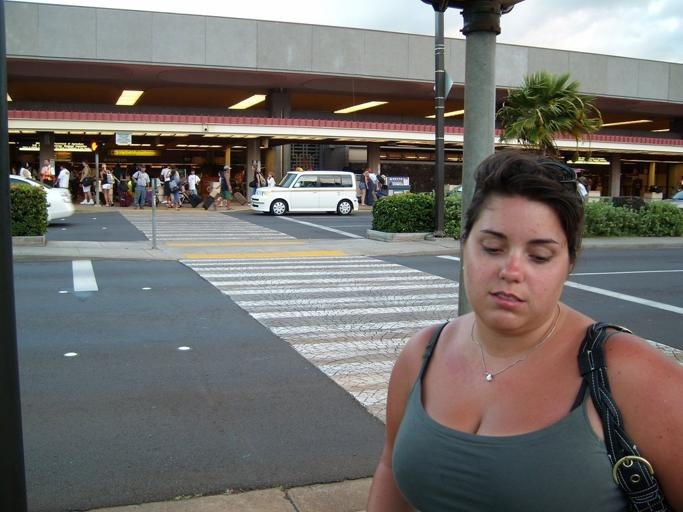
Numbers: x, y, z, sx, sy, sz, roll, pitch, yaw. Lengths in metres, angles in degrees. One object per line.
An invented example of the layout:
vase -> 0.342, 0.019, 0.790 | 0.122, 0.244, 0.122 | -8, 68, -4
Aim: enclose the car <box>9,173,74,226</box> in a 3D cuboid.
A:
car -> -11.361, -1.985, 21.016 | 1.958, 1.963, 9.629 | -2, 8, -23
